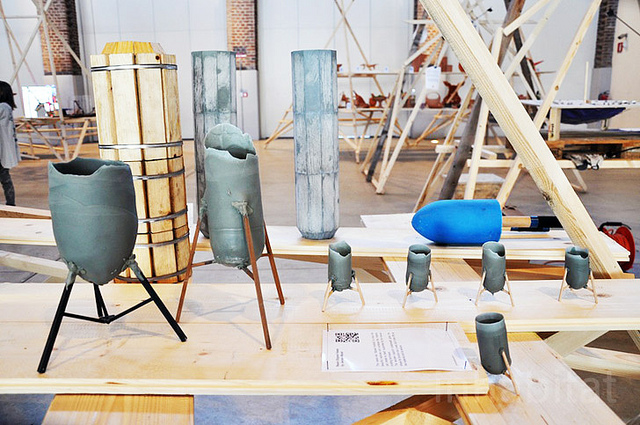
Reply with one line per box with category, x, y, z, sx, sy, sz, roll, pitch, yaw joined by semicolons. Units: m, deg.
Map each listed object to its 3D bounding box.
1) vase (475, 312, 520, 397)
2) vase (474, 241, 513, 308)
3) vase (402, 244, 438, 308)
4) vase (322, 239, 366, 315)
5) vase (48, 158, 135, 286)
vase;0.635;0.493;1.793;0.181;0.248;0.153;8;24;18
vase;0.757;0.250;2.139;0.152;0.249;0.223;8;23;18
vase;0.387;0.263;2.104;0.177;0.233;0.159;9;17;27
vase;0.101;0.263;2.069;0.226;0.254;0.210;0;1;-8
vase;-0.803;0.042;1.826;0.283;0.435;0.162;-7;24;-18
